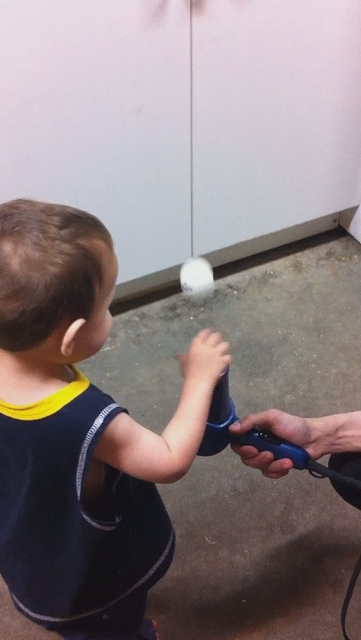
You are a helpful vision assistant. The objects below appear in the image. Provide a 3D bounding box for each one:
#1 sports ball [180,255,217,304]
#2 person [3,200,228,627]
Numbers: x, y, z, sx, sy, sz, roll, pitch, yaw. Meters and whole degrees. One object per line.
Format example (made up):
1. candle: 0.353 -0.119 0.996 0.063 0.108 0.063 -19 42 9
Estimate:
1. sports ball: 0.069 -0.155 1.971 0.125 0.126 0.117 1 20 0
2. person: -0.096 0.208 0.916 0.307 0.773 0.342 4 40 4
